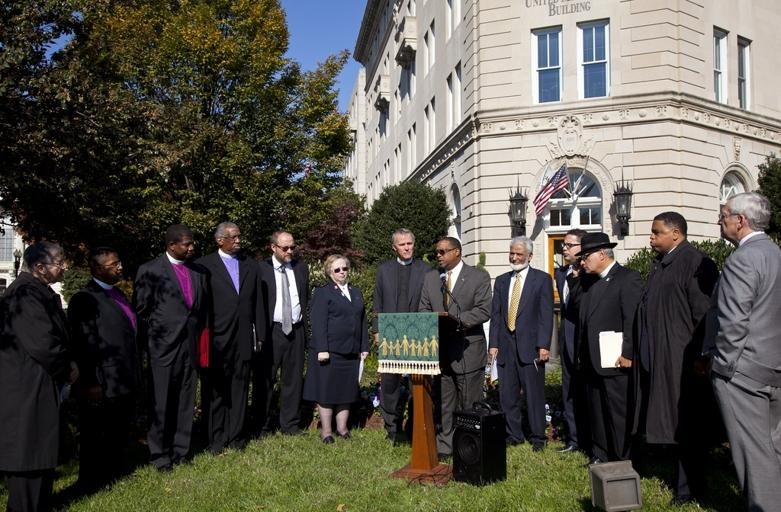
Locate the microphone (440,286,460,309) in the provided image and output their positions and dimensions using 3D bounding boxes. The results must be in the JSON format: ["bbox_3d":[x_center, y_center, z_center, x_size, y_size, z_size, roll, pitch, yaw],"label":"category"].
[{"bbox_3d":[1.007,0.745,14.056,0.265,0.408,0.143,-7,-8,10],"label":"microphone"}]

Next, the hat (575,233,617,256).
[{"bbox_3d":[3.470,-0.216,13.587,0.452,0.191,0.406,-15,-6,-11],"label":"hat"}]

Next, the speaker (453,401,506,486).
[{"bbox_3d":[1.473,3.097,13.236,0.887,1.315,0.637,0,-13,4],"label":"speaker"}]

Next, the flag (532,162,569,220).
[{"bbox_3d":[4.901,-2.046,24.595,0.412,0.661,1.553,-4,-19,-36],"label":"flag"}]
